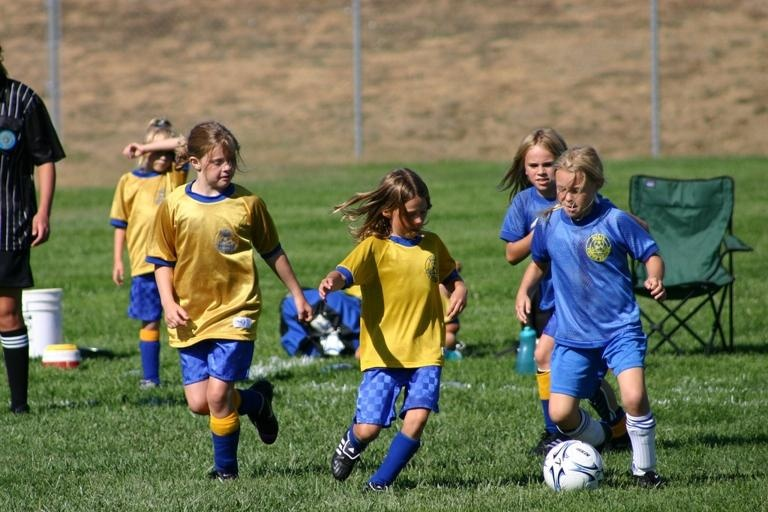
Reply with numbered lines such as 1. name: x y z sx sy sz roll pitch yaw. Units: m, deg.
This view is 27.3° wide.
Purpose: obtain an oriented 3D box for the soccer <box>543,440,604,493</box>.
1. soccer: 2.713 3.007 22.856 0.743 0.726 0.755 -16 -7 38

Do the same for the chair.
1. chair: 5.154 0.112 26.957 2.451 2.972 2.175 1 6 15

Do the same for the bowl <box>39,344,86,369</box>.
1. bowl: -5.176 1.556 25.464 0.431 0.262 0.432 0 2 0

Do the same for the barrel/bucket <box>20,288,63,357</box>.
1. barrel/bucket: -5.603 1.061 25.906 0.552 1.132 0.696 2 -4 -16

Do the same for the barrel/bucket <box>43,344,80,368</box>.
1. barrel/bucket: -5.176 1.565 25.424 0.422 0.259 0.425 0 2 0
